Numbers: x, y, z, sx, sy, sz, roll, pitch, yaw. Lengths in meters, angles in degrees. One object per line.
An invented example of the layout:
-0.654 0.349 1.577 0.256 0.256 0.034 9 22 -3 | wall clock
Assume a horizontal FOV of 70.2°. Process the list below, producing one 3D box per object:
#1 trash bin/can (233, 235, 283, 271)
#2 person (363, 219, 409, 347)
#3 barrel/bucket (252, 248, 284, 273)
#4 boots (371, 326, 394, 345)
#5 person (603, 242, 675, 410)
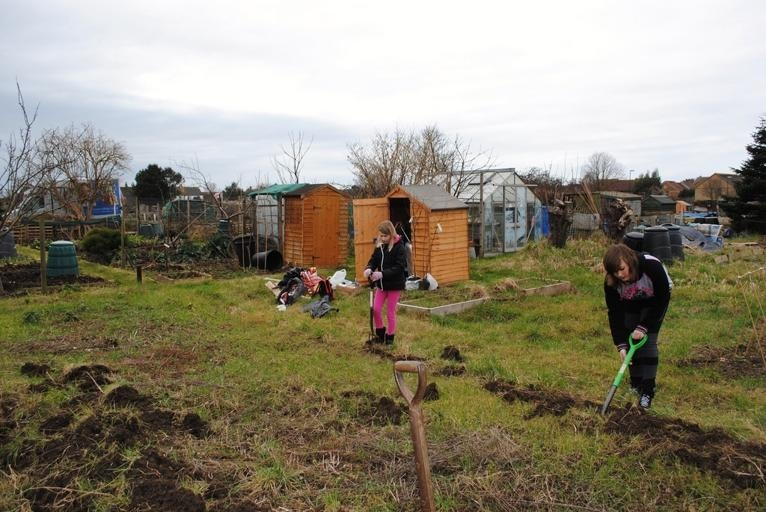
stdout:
-4.344 -0.176 19.084 1.408 1.526 1.424 1 9 14 | trash bin/can
0.051 0.471 9.290 0.673 2.095 0.708 0 12 0 | person
-3.837 0.142 18.321 1.010 0.654 1.187 -2 12 -12 | barrel/bucket
0.026 1.376 9.387 0.253 0.281 0.316 1 -9 -5 | boots
3.299 0.900 7.186 0.793 2.143 0.744 6 13 23 | person
